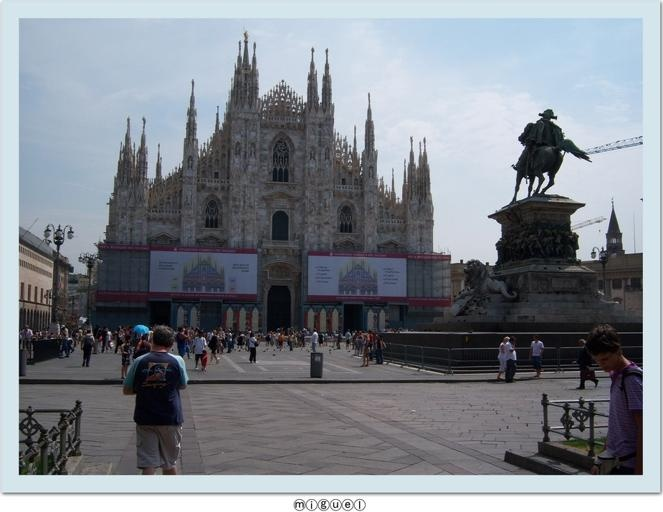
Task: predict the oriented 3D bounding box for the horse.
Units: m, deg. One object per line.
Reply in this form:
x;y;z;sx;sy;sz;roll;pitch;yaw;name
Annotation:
6.774;-3.125;28.995;1.597;2.756;1.864;2;-7;-5;horse

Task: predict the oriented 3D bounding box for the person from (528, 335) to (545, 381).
5.922;2.878;25.861;0.396;1.209;2.009;0;-7;13;person

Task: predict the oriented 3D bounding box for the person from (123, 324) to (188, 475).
-2.287;1.852;11.643;0.772;1.916;0.331;3;-7;-11;person

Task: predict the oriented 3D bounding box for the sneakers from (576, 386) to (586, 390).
6.009;3.167;21.666;0.198;0.078;0.596;-1;-7;16;sneakers

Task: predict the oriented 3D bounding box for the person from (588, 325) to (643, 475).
3.316;1.672;10.469;0.590;1.732;0.415;-1;-7;18;person

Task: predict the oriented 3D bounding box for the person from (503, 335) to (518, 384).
4.922;2.830;24.743;0.283;1.258;0.982;0;-7;10;person
